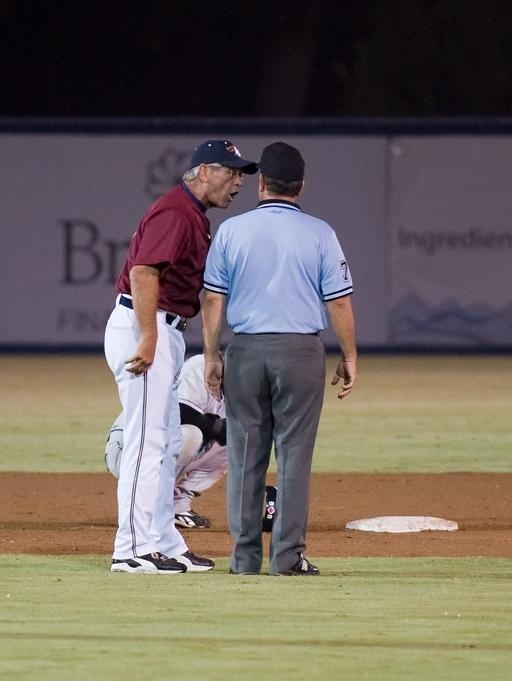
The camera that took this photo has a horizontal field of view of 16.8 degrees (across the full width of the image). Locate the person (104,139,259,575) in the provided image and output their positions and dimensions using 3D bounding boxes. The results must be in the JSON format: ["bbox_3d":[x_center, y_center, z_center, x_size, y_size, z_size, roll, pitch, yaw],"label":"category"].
[{"bbox_3d":[-0.441,0.080,9.524,0.727,2.386,0.720,-1,-4,25],"label":"person"}]

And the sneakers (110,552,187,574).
[{"bbox_3d":[-0.571,1.149,9.330,0.370,0.198,0.146,0,-1,-3],"label":"sneakers"}]

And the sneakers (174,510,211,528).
[{"bbox_3d":[-0.385,1.091,10.684,0.226,0.122,0.091,3,1,-3],"label":"sneakers"}]

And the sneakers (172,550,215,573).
[{"bbox_3d":[-0.340,1.194,9.510,0.234,0.126,0.088,1,2,-5],"label":"sneakers"}]

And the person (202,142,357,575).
[{"bbox_3d":[0.117,0.102,9.400,0.802,2.307,0.236,1,-1,4],"label":"person"}]

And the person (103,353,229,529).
[{"bbox_3d":[-0.648,0.580,10.776,0.849,1.521,0.671,-1,10,-7],"label":"person"}]

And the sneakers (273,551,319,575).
[{"bbox_3d":[0.202,1.189,9.404,0.253,0.145,0.104,0,0,-17],"label":"sneakers"}]

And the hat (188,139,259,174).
[{"bbox_3d":[-0.169,-0.995,9.539,0.278,0.187,0.191,-7,4,16],"label":"hat"}]
